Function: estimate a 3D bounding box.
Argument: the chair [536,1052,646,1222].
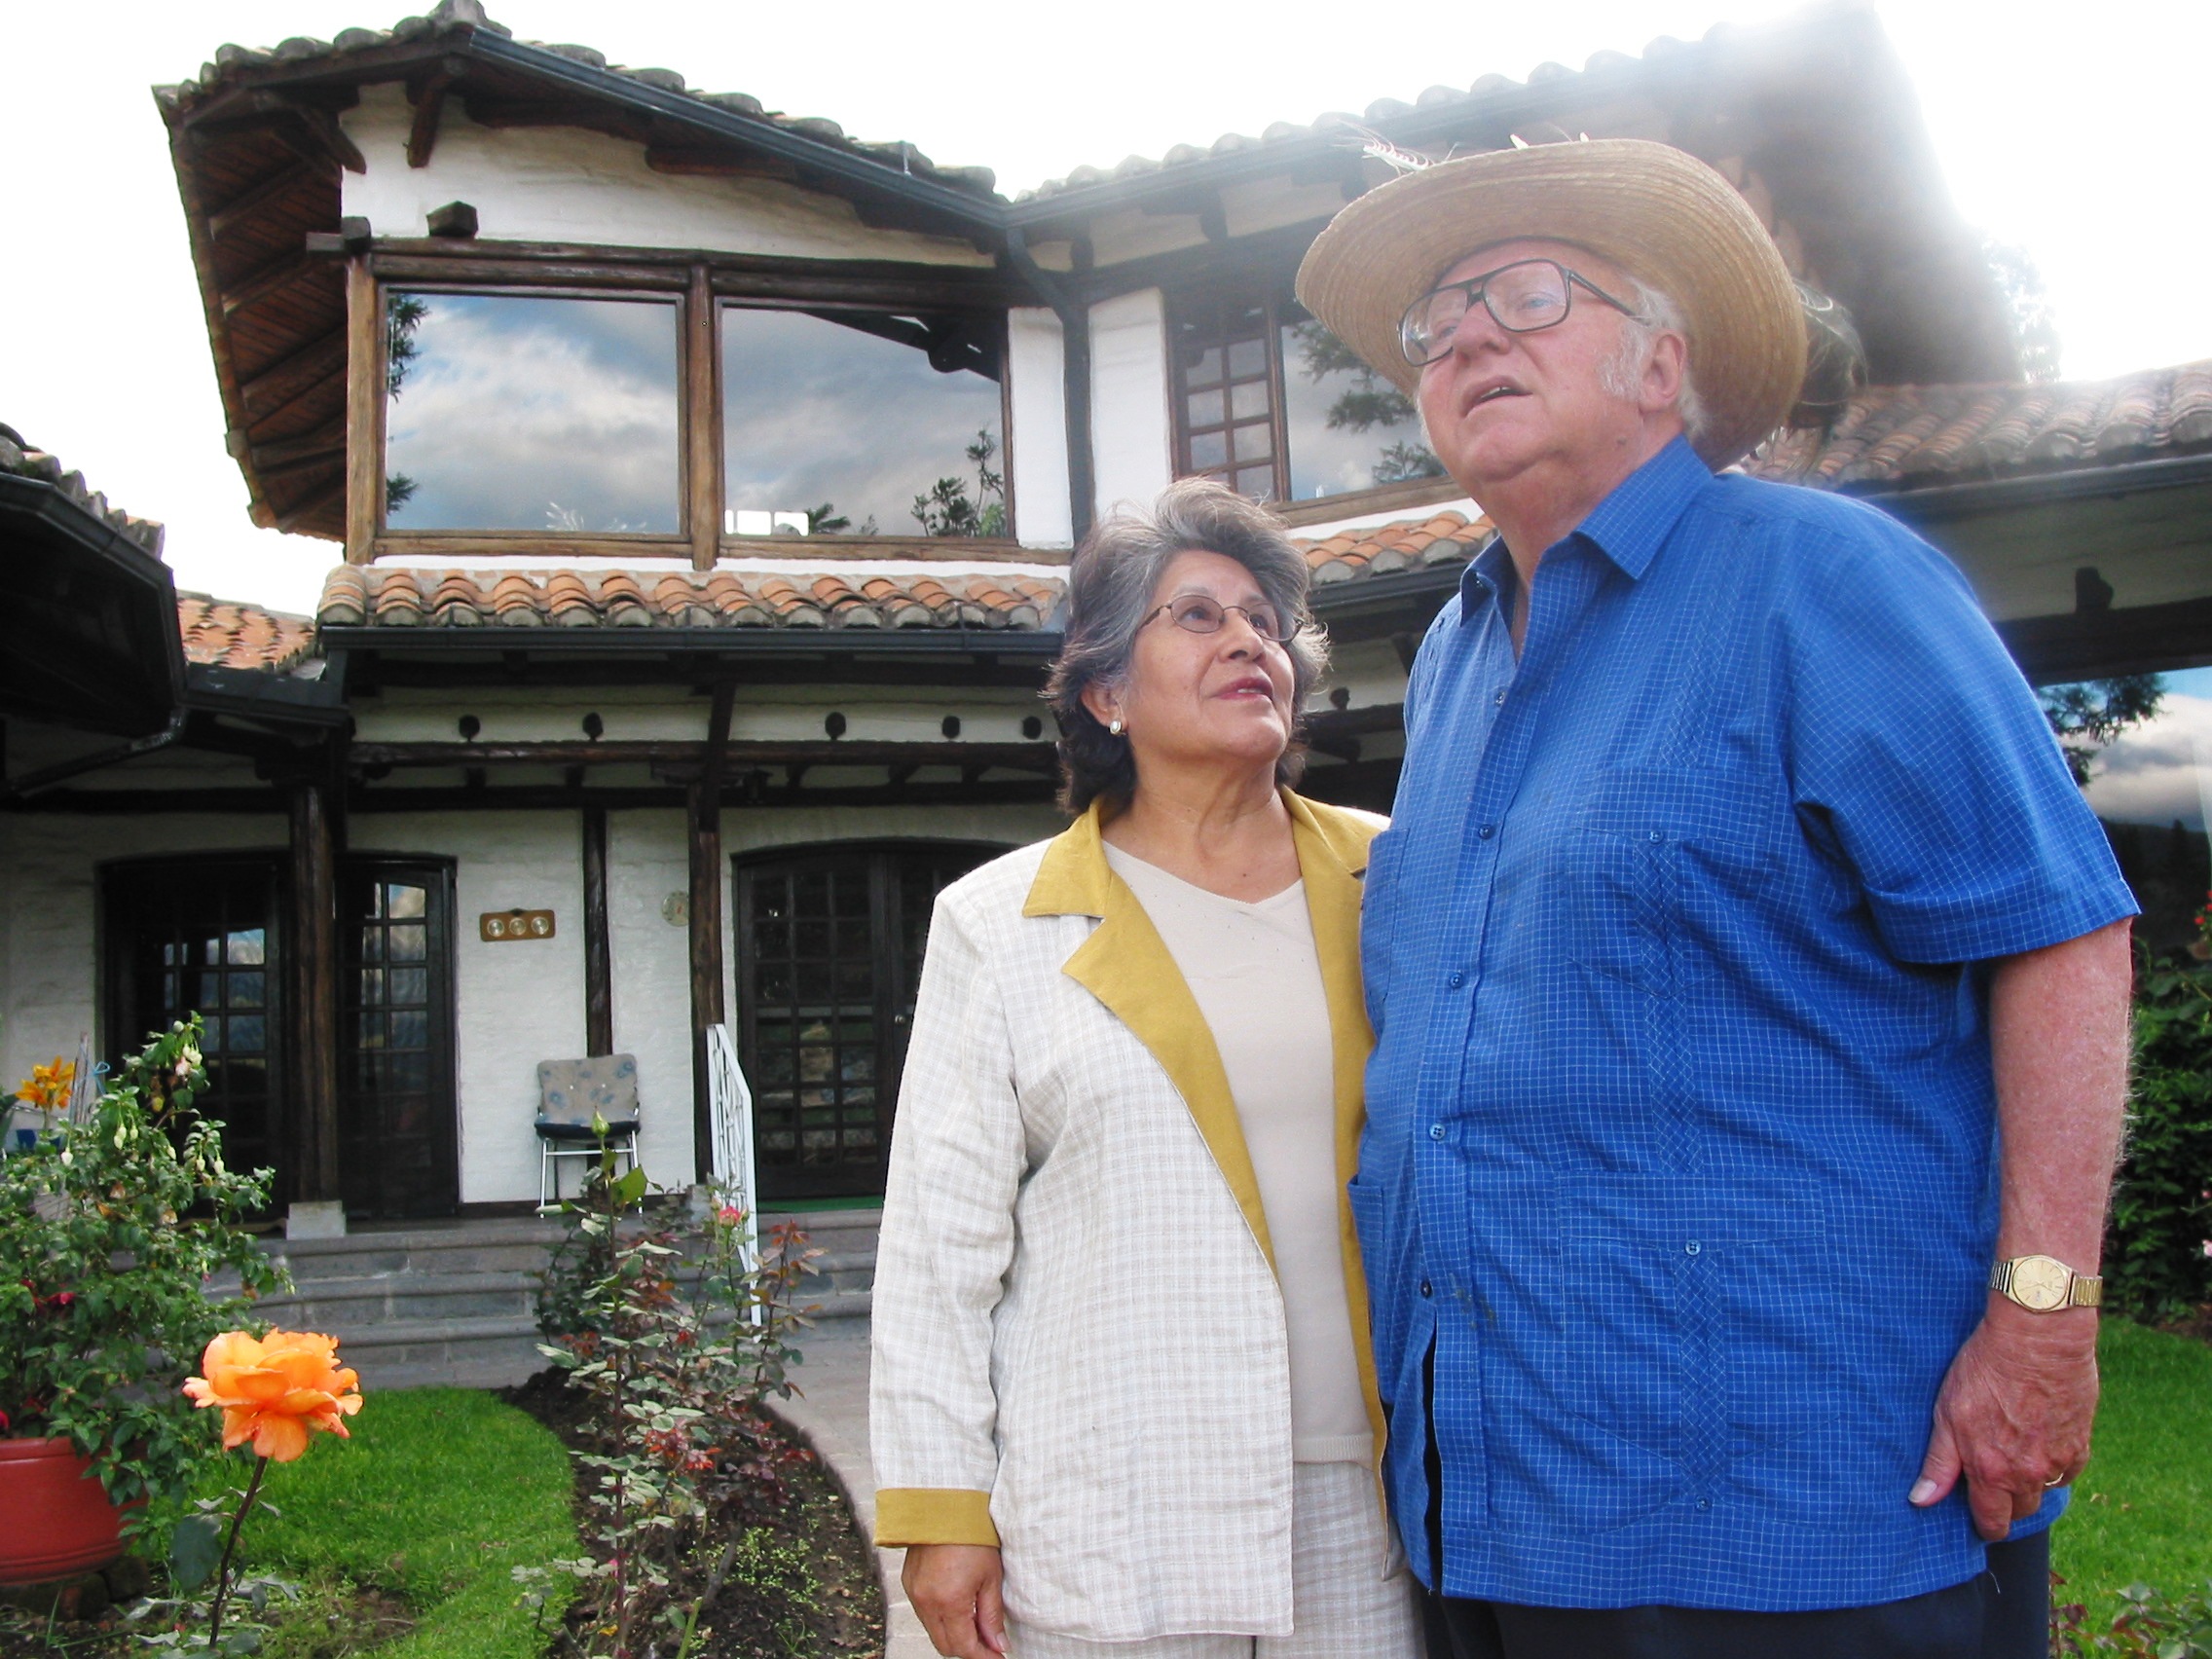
[{"bbox_3d":[-2.951,1.719,12.325,0.604,0.869,0.551,0,-9,-23],"label":"chair"}]
